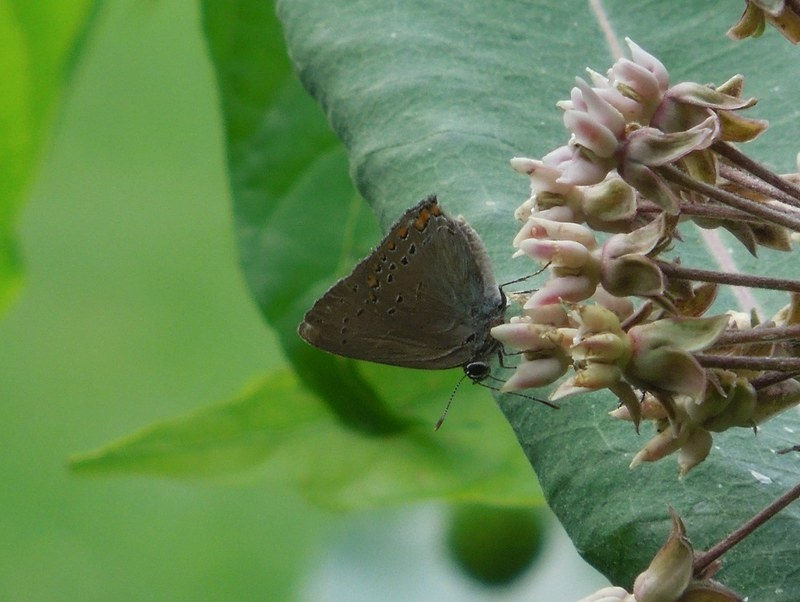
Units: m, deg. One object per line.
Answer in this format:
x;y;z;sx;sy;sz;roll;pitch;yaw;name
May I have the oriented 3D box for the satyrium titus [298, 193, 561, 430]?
-0.011;-0.012;0.981;0.136;0.238;0.167;23;104;36;satyrium titus
